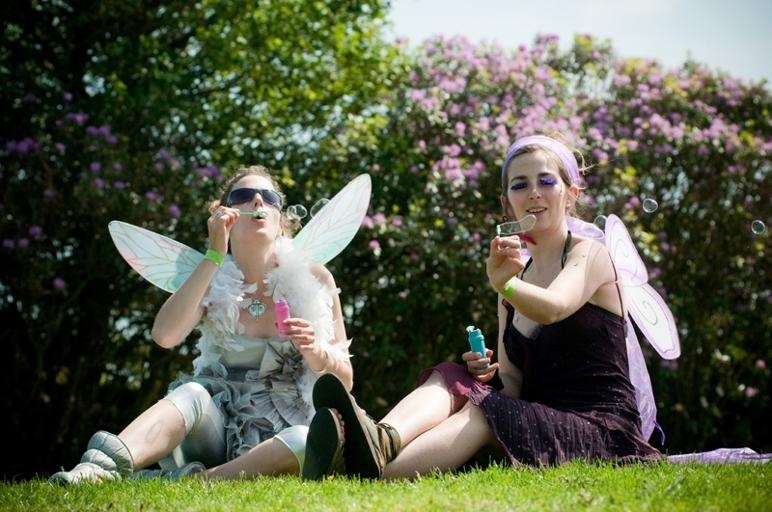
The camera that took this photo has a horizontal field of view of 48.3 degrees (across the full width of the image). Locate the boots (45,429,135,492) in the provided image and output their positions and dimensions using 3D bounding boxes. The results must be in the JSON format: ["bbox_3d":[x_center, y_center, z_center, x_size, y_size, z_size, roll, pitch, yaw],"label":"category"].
[{"bbox_3d":[-1.798,1.262,5.288,0.316,0.327,0.674,1,-16,18],"label":"boots"}]

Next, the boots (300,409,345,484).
[{"bbox_3d":[-0.390,1.155,5.185,0.168,0.553,0.209,4,3,12],"label":"boots"}]

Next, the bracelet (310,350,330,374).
[{"bbox_3d":[-0.441,0.713,5.718,0.106,0.155,0.077,8,-1,36],"label":"bracelet"}]

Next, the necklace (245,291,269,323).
[{"bbox_3d":[-0.889,0.358,5.885,0.196,0.286,0.037,1,-1,4],"label":"necklace"}]

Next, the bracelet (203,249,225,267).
[{"bbox_3d":[-1.163,0.024,5.788,0.111,0.082,0.113,26,-8,-15],"label":"bracelet"}]

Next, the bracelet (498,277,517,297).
[{"bbox_3d":[0.725,0.197,5.295,0.107,0.098,0.099,31,-18,-36],"label":"bracelet"}]
